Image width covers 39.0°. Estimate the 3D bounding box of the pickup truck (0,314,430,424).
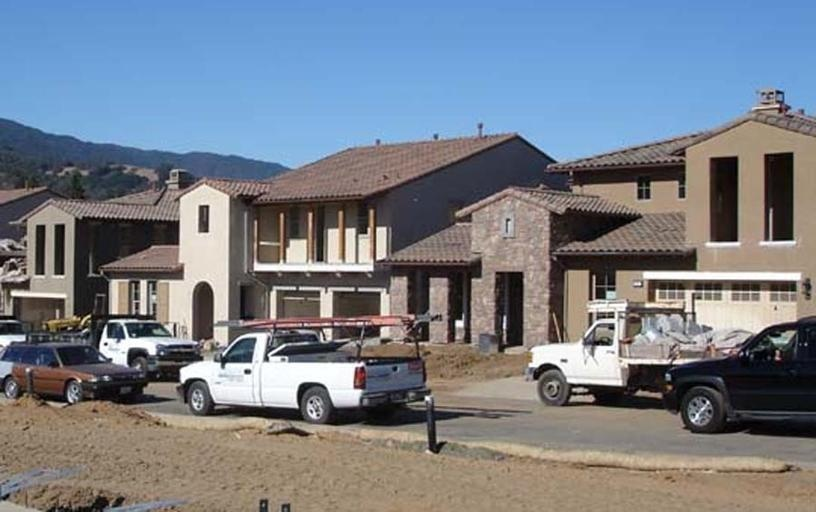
[{"bbox_3d":[-3.925,3.652,37.681,8.788,3.058,3.188,0,-4,23],"label":"pickup truck"}]
